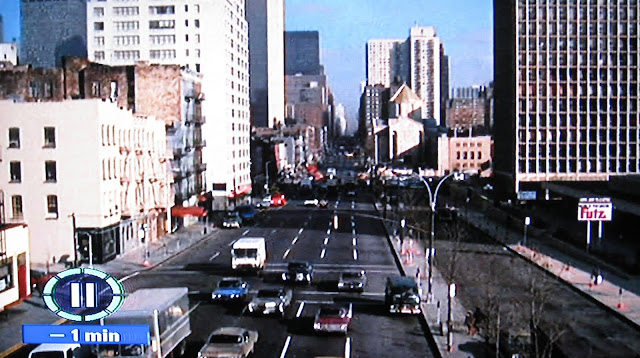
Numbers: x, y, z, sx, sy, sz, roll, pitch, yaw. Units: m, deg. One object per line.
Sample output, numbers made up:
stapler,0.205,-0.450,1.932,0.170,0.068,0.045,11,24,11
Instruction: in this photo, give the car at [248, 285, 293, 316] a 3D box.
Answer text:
car,-6.067,15.050,86.341,5.155,2.971,2.994,-3,8,-10

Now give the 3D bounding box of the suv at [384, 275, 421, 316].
suv,10.055,14.446,88.128,3.189,2.476,4.697,0,-2,1

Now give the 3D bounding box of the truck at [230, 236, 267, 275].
truck,-11.605,10.689,98.259,3.833,5.065,8.441,1,-1,1
